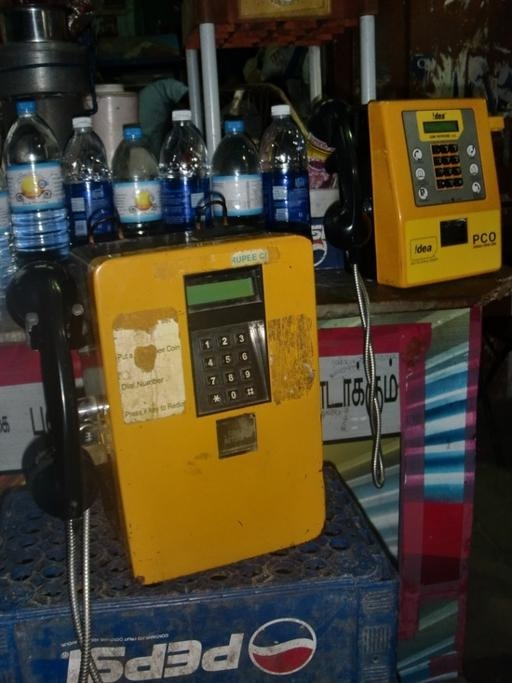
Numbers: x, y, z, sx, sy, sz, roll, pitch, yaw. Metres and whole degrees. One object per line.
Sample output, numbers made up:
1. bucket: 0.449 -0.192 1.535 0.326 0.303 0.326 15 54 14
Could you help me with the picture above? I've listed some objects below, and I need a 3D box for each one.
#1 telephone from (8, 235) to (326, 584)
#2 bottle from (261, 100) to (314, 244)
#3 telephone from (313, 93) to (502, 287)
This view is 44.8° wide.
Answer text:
1. telephone: -0.101 0.097 0.799 0.427 0.447 0.238 -8 15 -22
2. bottle: 0.064 -0.374 1.387 0.114 0.277 0.372 -8 13 4
3. telephone: 0.292 -0.281 1.180 0.376 0.280 0.187 -14 22 -24
